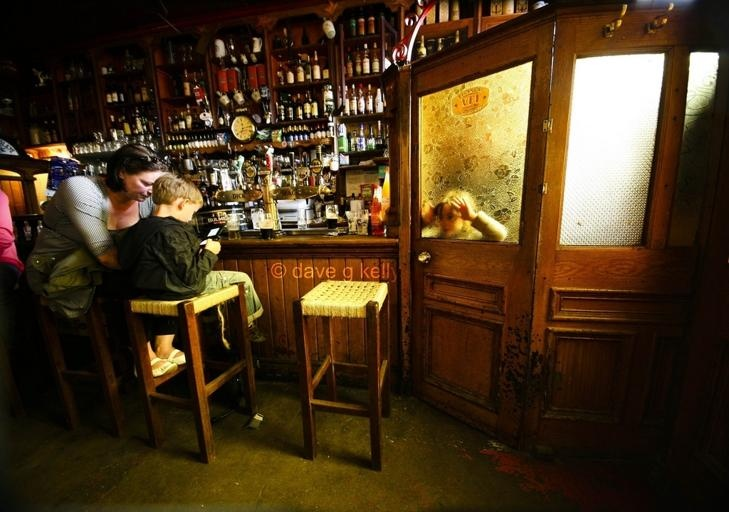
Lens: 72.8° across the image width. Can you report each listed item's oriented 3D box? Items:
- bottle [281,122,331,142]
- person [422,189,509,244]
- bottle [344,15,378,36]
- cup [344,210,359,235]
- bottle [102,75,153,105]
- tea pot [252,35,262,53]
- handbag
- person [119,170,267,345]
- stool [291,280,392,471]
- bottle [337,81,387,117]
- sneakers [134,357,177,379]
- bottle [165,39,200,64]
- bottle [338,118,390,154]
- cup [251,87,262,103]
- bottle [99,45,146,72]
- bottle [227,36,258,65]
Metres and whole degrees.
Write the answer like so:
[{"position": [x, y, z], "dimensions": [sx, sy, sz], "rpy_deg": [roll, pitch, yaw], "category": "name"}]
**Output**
[{"position": [-0.685, -1.463, 5.831], "dimensions": [0.606, 0.222, 0.423], "rpy_deg": [-2, 12, -8], "category": "bottle"}, {"position": [0.788, -0.324, 3.759], "dimensions": [0.478, 0.337, 0.914], "rpy_deg": [-12, 9, -33], "category": "person"}, {"position": [-0.016, -2.600, 5.591], "dimensions": [0.302, 0.221, 0.117], "rpy_deg": [2, 13, 10], "category": "bottle"}, {"position": [-0.105, -0.299, 4.378], "dimensions": [0.181, 0.266, 0.180], "rpy_deg": [0, 1, 0], "category": "cup"}, {"position": [-3.076, -2.143, 6.367], "dimensions": [0.385, 0.353, 0.199], "rpy_deg": [2, 9, 5], "category": "bottle"}, {"position": [-1.261, -2.470, 5.789], "dimensions": [0.124, 0.194, 0.109], "rpy_deg": [-6, 14, -24], "category": "tea pot"}, {"position": [-2.150, 0.148, 3.730], "dimensions": [0.532, 0.612, 0.247], "rpy_deg": [23, -14, 5], "category": "handbag"}, {"position": [-1.292, -0.012, 3.585], "dimensions": [0.847, 1.141, 0.437], "rpy_deg": [-10, 17, -38], "category": "person"}, {"position": [-0.097, 0.856, 3.621], "dimensions": [0.867, 1.059, 0.848], "rpy_deg": [-5, 5, -34], "category": "stool"}, {"position": [-0.021, -1.843, 5.804], "dimensions": [0.482, 0.379, 0.245], "rpy_deg": [1, 13, 5], "category": "bottle"}, {"position": [-1.607, 0.837, 3.772], "dimensions": [0.282, 0.095, 0.161], "rpy_deg": [6, 18, 19], "category": "sneakers"}, {"position": [-2.266, -2.547, 6.136], "dimensions": [0.337, 0.295, 0.175], "rpy_deg": [2, 33, -1], "category": "bottle"}, {"position": [-0.015, -1.427, 5.867], "dimensions": [0.635, 0.381, 0.422], "rpy_deg": [2, 13, 10], "category": "bottle"}, {"position": [-1.293, -1.922, 5.875], "dimensions": [0.114, 0.151, 0.114], "rpy_deg": [0, 13, 0], "category": "cup"}, {"position": [-3.121, -2.540, 6.339], "dimensions": [0.356, 0.219, 0.184], "rpy_deg": [4, 26, 9], "category": "bottle"}, {"position": [-1.463, -2.457, 5.907], "dimensions": [0.422, 0.147, 0.125], "rpy_deg": [10, 5, 26], "category": "bottle"}]
